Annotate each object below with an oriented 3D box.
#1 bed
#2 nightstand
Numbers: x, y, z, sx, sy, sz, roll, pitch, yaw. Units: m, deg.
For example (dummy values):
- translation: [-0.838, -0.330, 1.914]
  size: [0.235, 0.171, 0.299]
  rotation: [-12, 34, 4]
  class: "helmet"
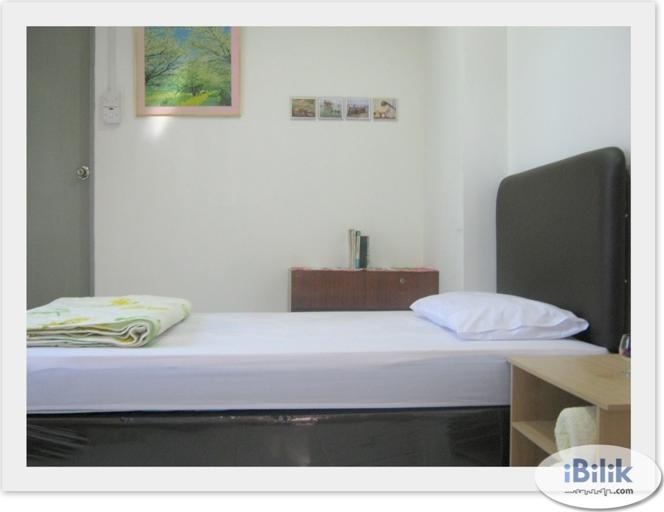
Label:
- translation: [0.046, 0.308, 2.321]
  size: [1.398, 0.850, 1.364]
  rotation: [0, -2, -2]
  class: "bed"
- translation: [0.727, 0.476, 1.745]
  size: [0.284, 0.344, 0.372]
  rotation: [-1, 4, -7]
  class: "nightstand"
